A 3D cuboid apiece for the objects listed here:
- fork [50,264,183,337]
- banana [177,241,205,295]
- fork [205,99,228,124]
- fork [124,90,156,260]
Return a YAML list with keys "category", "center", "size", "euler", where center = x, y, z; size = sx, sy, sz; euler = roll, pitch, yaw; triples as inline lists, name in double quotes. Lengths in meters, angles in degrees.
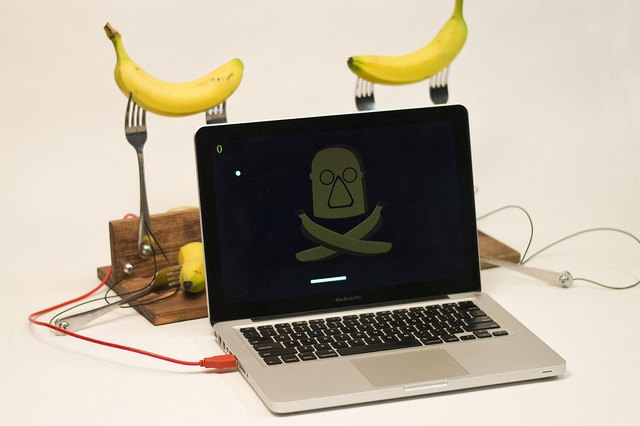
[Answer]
- category: "fork"
  center: [-0.495, 0.221, 1.506]
  size: [0.316, 0.045, 0.033]
  euler: [-24, 32, -30]
- category: "banana"
  center: [-0.311, 0.132, 1.485]
  size: [0.067, 0.061, 0.138]
  euler: [-4, 38, -3]
- category: "fork"
  center: [-0.243, -0.232, 1.448]
  size: [0.037, 0.076, 0.068]
  euler: [0, 23, 10]
- category: "fork"
  center: [-0.456, -0.088, 1.577]
  size: [0.061, 0.470, 0.053]
  euler: [-13, 20, -29]
